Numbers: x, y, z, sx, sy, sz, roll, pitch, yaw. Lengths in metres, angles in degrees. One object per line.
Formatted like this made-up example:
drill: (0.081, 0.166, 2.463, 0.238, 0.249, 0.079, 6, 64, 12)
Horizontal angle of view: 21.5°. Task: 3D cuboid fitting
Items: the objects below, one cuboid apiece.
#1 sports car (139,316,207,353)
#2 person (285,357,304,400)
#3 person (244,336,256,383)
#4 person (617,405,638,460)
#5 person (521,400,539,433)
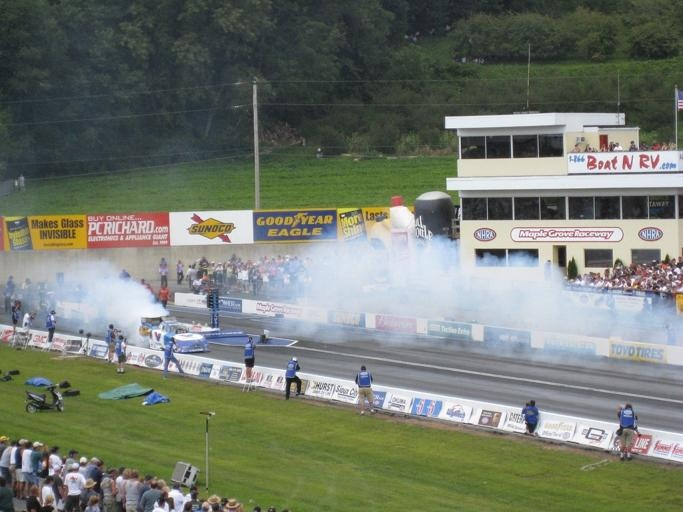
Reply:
sports car: (-12.978, 5.976, 136.413, 5.421, 2.382, 2.285, 4, 7, 34)
person: (-3.522, 8.785, 129.679, 1.168, 2.849, 1.466, -1, 6, -2)
person: (-6.712, 7.543, 130.347, 0.654, 3.410, 0.998, -1, 6, -6)
person: (19.427, 11.933, 122.858, 1.283, 3.800, 0.780, 0, 6, 2)
person: (13.048, 11.164, 124.725, 1.142, 2.299, 0.501, 0, 6, 2)
